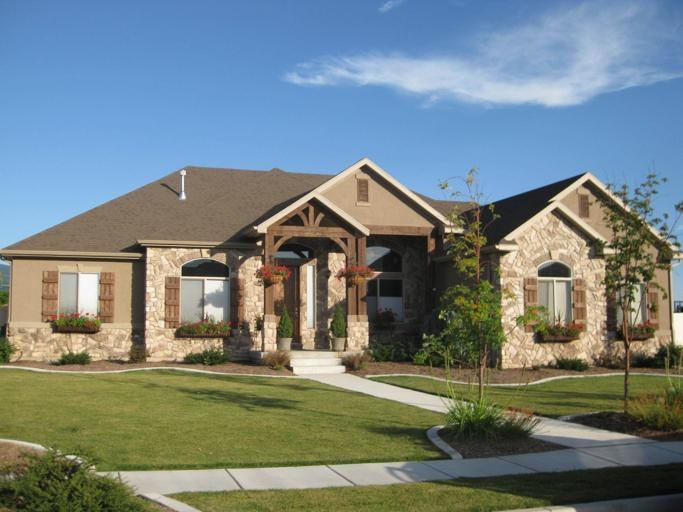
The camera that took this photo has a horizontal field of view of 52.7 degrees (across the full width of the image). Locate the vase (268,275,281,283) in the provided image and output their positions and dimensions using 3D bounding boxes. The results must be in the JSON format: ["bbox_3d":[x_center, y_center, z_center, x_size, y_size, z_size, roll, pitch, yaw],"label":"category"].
[{"bbox_3d":[-2.697,0.962,28.295,0.315,0.205,0.325,0,-4,5],"label":"vase"}]

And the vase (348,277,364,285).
[{"bbox_3d":[0.588,1.066,29.346,0.525,0.350,0.383,3,-8,-29],"label":"vase"}]

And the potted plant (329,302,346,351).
[{"bbox_3d":[-0.147,3.071,29.224,0.581,1.994,0.590,-2,-10,15],"label":"potted plant"}]

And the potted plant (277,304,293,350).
[{"bbox_3d":[-2.380,3.033,28.569,0.581,1.934,1.304,1,-10,-5],"label":"potted plant"}]
